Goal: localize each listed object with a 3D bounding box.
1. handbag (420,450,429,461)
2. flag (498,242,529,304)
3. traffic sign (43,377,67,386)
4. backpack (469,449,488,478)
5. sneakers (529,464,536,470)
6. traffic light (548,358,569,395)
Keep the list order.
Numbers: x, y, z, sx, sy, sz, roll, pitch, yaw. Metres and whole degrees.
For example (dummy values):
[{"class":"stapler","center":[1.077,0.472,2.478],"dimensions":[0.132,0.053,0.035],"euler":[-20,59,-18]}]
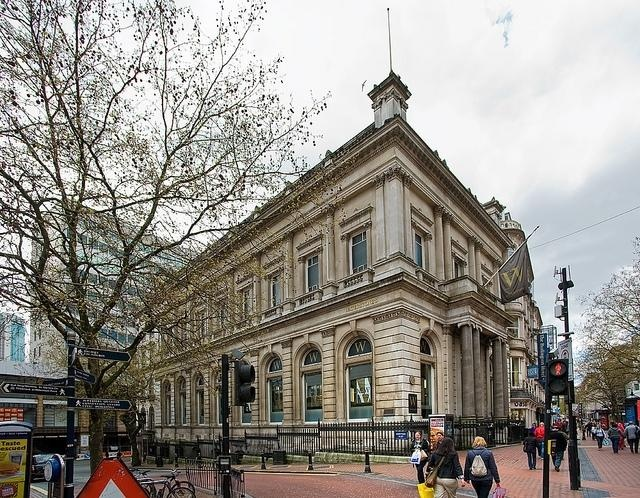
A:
[{"class":"handbag","center":[3.496,6.994,23.326],"dimensions":[0.315,0.441,0.223],"euler":[-10,-13,37]},{"class":"flag","center":[10.750,1.267,37.816],"dimensions":[1.757,3.212,1.091],"euler":[-12,-24,25]},{"class":"traffic sign","center":[-6.961,3.533,18.186],"dimensions":[0.507,0.142,0.494],"euler":[-6,-12,40]},{"class":"backpack","center":[4.590,6.196,20.022],"dimensions":[0.708,0.987,0.450],"euler":[-2,-2,17]},{"class":"sneakers","center":[8.823,9.070,28.589],"dimensions":[0.138,0.219,0.506],"euler":[-2,-11,14]},{"class":"traffic light","center":[7.307,3.924,21.161],"dimensions":[0.657,1.098,0.499],"euler":[-8,-23,18]}]
